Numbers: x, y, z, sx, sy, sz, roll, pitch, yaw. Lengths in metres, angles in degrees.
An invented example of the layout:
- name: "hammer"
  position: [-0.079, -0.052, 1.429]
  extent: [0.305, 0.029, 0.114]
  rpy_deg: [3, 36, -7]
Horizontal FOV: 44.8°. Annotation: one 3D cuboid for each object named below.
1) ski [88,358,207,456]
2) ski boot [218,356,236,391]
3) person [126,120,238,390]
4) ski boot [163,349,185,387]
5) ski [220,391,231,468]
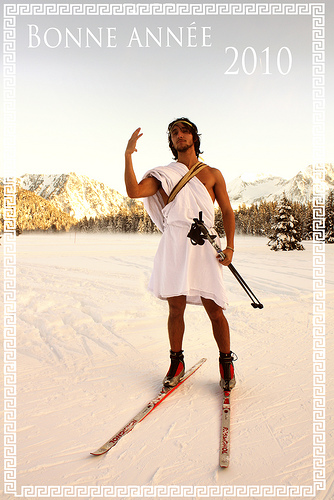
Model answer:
- name: "ski"
  position: [0.083, 1.120, 3.716]
  extent: [0.206, 0.133, 2.456]
  rpy_deg: [5, 12, 27]
- name: "ski boot"
  position: [0.557, 1.058, 3.742]
  extent: [0.140, 0.339, 0.360]
  rpy_deg: [-4, 6, 9]
- name: "person"
  position: [0.178, 0.031, 3.643]
  extent: [0.915, 2.434, 1.042]
  rpy_deg: [0, 4, 9]
- name: "ski boot"
  position: [0.066, 1.068, 3.718]
  extent: [0.142, 0.269, 0.410]
  rpy_deg: [4, 7, 18]
- name: "ski"
  position: [0.414, 1.284, 2.877]
  extent: [0.101, 0.064, 0.652]
  rpy_deg: [-2, 4, 8]
